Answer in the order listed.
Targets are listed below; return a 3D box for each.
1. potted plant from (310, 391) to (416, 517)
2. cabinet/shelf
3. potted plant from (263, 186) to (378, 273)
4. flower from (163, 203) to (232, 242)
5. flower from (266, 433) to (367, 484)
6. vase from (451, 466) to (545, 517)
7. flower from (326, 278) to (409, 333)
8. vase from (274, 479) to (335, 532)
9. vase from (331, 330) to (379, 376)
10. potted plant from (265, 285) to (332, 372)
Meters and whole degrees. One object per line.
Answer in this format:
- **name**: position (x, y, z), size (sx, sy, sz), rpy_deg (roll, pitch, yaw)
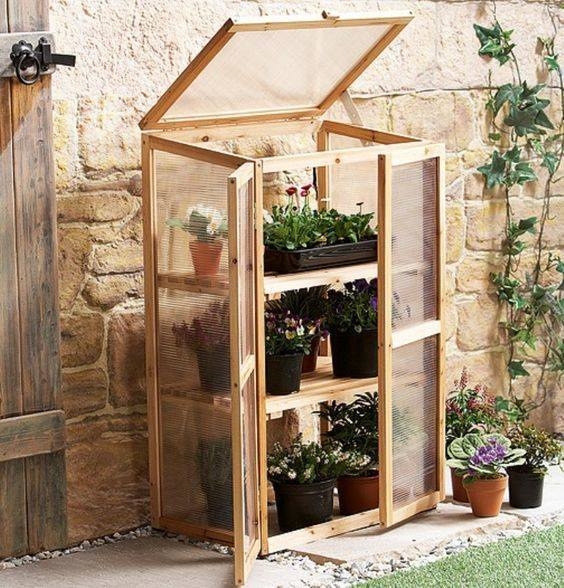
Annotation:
- **potted plant**: position (0.325, 0.697, 2.884), size (0.318, 0.324, 0.278), rpy_deg (-5, -10, 10)
- **cabinet/shelf**: position (0.064, 0.087, 2.629), size (1.151, 1.622, 0.734), rpy_deg (-4, 3, -41)
- **potted plant**: position (0.132, -0.228, 2.730), size (0.479, 0.136, 0.456), rpy_deg (9, 17, 34)
- **flower**: position (-0.263, -0.228, 2.339), size (0.167, 0.061, 0.113), rpy_deg (4, 1, 26)
- **flower**: position (0.144, 0.629, 2.726), size (0.304, 0.133, 0.338), rpy_deg (-8, -3, 11)
- **vase**: position (0.841, 0.746, 2.864), size (0.255, 0.095, 0.270), rpy_deg (0, 0, -3)
- **flower**: position (0.297, 0.055, 2.736), size (0.279, 0.116, 0.227), rpy_deg (-3, 5, -25)
- **vase**: position (0.075, 0.765, 2.676), size (0.247, 0.160, 0.234), rpy_deg (0, -2, -28)
- **vase**: position (0.278, 0.225, 2.841), size (0.266, 0.188, 0.258), rpy_deg (0, -1, 12)
- **potted plant**: position (0.026, 0.143, 2.792), size (0.314, 0.286, 0.277), rpy_deg (0, 5, -16)
